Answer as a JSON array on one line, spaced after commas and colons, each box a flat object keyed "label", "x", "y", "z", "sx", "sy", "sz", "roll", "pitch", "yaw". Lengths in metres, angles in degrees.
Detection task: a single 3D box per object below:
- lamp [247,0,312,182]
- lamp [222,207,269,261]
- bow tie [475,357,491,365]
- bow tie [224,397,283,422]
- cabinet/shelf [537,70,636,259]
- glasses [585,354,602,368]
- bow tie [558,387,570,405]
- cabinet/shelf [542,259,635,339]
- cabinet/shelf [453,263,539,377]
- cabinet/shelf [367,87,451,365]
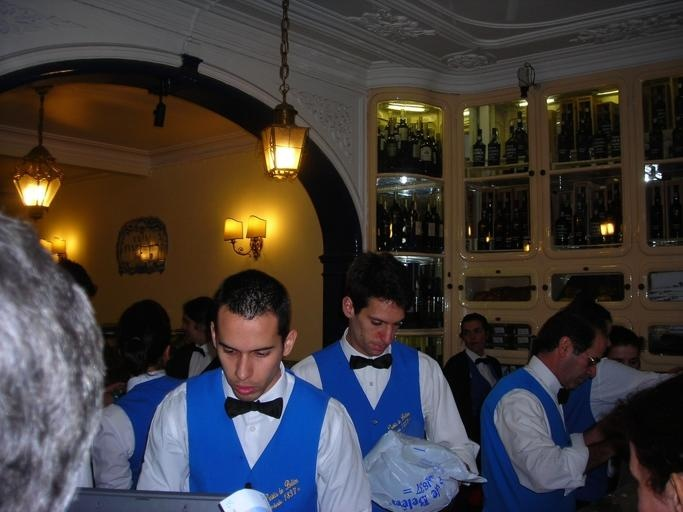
[{"label": "lamp", "x": -0.352, "y": -0.988, "z": 3.484, "sx": 0.251, "sy": 1.129, "sz": 0.779, "roll": -1, "pitch": 1, "yaw": -8}, {"label": "lamp", "x": -1.008, "y": -0.177, "z": 6.299, "sx": 0.483, "sy": 0.478, "sz": 0.303, "roll": -4, "pitch": -1, "yaw": 23}, {"label": "bow tie", "x": 1.055, "y": 0.781, "z": 4.457, "sx": 0.067, "sy": 0.018, "sz": 0.069, "roll": 5, "pitch": -42, "yaw": -20}, {"label": "bow tie", "x": -0.284, "y": 0.488, "z": 1.912, "sx": 0.192, "sy": 0.081, "sz": 0.072, "roll": -1, "pitch": 0, "yaw": -10}, {"label": "cabinet/shelf", "x": 1.758, "y": -0.613, "z": 4.283, "sx": 0.422, "sy": 1.113, "sz": 0.294, "roll": -1, "pitch": 3, "yaw": 28}, {"label": "glasses", "x": 1.064, "y": 0.452, "z": 2.520, "sx": 0.046, "sy": 0.057, "sz": 0.018, "roll": 9, "pitch": 37, "yaw": 1}, {"label": "bow tie", "x": 0.974, "y": 0.611, "z": 2.629, "sx": 0.049, "sy": 0.081, "sz": 0.023, "roll": 10, "pitch": 12, "yaw": -16}, {"label": "cabinet/shelf", "x": 1.799, "y": 0.456, "z": 4.343, "sx": 0.697, "sy": 0.717, "sz": 0.416, "roll": -1, "pitch": -10, "yaw": 31}, {"label": "cabinet/shelf", "x": 1.358, "y": 0.414, "z": 5.115, "sx": 0.718, "sy": 0.608, "sz": 1.069, "roll": -9, "pitch": -13, "yaw": 12}, {"label": "cabinet/shelf", "x": 0.545, "y": -0.010, "z": 4.884, "sx": 0.553, "sy": 2.524, "sz": 0.614, "roll": -2, "pitch": -1, "yaw": 43}]
